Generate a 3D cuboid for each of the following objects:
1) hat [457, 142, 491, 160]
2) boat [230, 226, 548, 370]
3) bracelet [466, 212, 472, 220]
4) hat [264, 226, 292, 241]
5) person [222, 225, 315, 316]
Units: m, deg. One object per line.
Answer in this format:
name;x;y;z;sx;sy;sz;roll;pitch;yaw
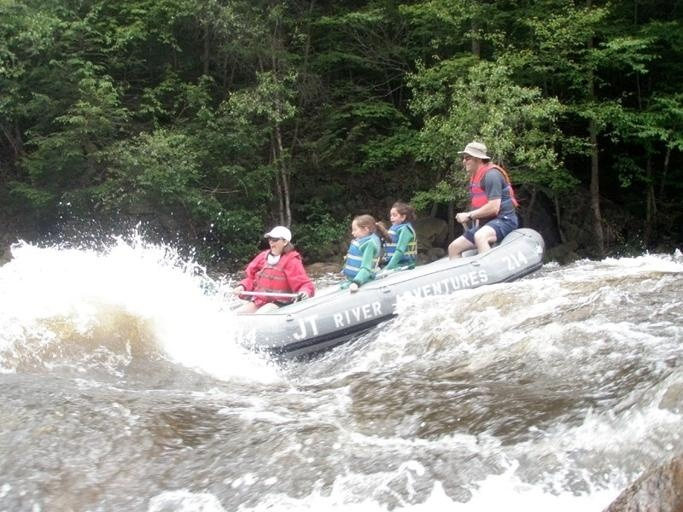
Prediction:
hat;1.855;-1.431;9.366;0.297;0.263;0.740;-7;6;13
boat;0.559;0.512;8.817;3.485;0.538;1.585;-19;4;-9
bracelet;1.683;-0.532;8.946;0.046;0.075;0.114;-7;6;18
hat;-0.773;-0.301;8.859;0.365;0.178;0.248;18;-6;-17
person;-0.935;0.286;8.987;1.416;1.264;1.048;8;12;37
